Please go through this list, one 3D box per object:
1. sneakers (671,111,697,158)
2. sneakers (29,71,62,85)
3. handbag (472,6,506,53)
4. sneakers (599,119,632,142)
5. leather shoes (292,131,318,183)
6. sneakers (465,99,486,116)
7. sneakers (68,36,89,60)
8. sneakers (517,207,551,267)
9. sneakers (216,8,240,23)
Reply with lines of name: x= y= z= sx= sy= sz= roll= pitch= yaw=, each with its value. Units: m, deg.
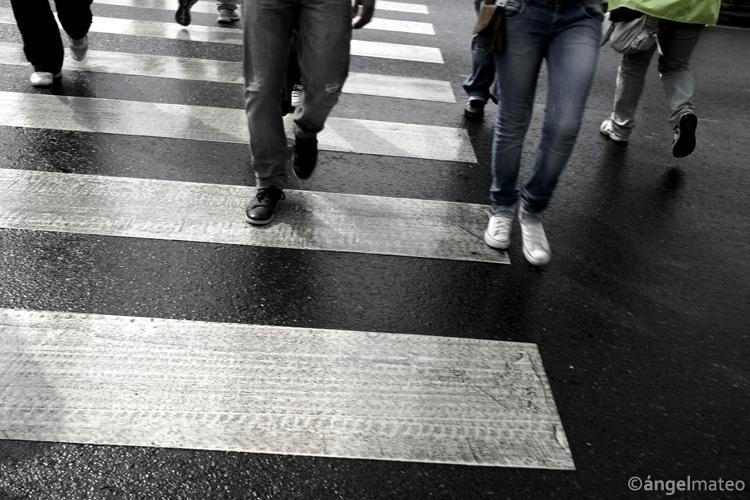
sneakers: x=2.698 y=-1.018 z=5.429 sx=0.253 sy=0.374 sz=0.185 roll=-11 pitch=19 yaw=5
sneakers: x=-3.085 y=-1.616 z=5.747 sx=0.212 sy=0.117 sz=0.254 roll=-1 pitch=30 yaw=-10
handbag: x=0.713 y=-1.402 z=3.883 sx=0.198 sy=0.287 sz=0.278 roll=2 pitch=34 yaw=-8
sneakers: x=2.258 y=-1.150 z=5.872 sx=0.196 sy=0.130 sz=0.335 roll=-1 pitch=31 yaw=-10
leather shoes: x=-0.493 y=-0.695 z=4.515 sx=0.163 sy=0.302 sz=0.150 roll=-2 pitch=22 yaw=-1
sneakers: x=0.951 y=-1.387 z=6.013 sx=0.243 sy=0.169 sz=0.148 roll=3 pitch=46 yaw=-5
sneakers: x=-2.961 y=-2.036 z=6.210 sx=0.141 sy=0.274 sz=0.135 roll=-15 pitch=35 yaw=-24
sneakers: x=1.050 y=-0.086 z=4.162 sx=0.195 sy=0.162 sz=0.423 roll=-7 pitch=46 yaw=-4
sneakers: x=-1.821 y=-2.933 z=7.739 sx=0.165 sy=0.123 sz=0.330 roll=9 pitch=23 yaw=20
